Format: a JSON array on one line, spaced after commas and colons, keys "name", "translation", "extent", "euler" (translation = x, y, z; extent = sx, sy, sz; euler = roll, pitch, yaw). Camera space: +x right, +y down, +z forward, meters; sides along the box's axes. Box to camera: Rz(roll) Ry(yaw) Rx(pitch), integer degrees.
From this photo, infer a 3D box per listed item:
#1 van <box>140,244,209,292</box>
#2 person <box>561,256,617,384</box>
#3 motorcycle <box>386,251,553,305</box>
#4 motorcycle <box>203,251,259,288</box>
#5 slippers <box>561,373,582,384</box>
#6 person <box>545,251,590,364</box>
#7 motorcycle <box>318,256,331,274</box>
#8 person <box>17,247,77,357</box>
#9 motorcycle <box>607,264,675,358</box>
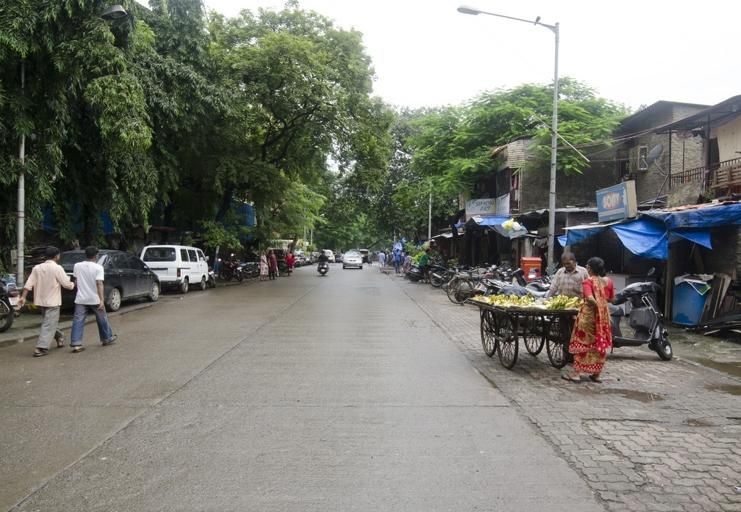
[{"name": "van", "translation": [-7.825, 0.314, 25.455], "extent": [1.410, 1.383, 2.832], "euler": [0, 3, 7]}, {"name": "person", "translation": [3.770, 1.095, 10.887], "extent": [0.697, 2.111, 0.582], "euler": [3, 11, 12]}, {"name": "motorcycle", "translation": [3.375, 0.885, 20.386], "extent": [3.258, 1.552, 1.554], "euler": [-2, 11, -17]}, {"name": "motorcycle", "translation": [-7.419, 0.621, 34.131], "extent": [2.416, 1.383, 1.265], "euler": [-3, 5, -23]}, {"name": "slippers", "translation": [3.467, 2.115, 10.939], "extent": [0.263, 0.084, 0.141], "euler": [4, -1, 27]}, {"name": "person", "translation": [3.815, 1.106, 11.072], "extent": [0.783, 2.096, 0.813], "euler": [6, -4, -39]}, {"name": "motorcycle", "translation": [-2.980, 0.604, 40.894], "extent": [0.632, 0.733, 1.310], "euler": [0, -3, -2]}, {"name": "person", "translation": [-6.457, 0.852, 12.904], "extent": [0.952, 2.285, 1.147], "euler": [0, 0, 3]}, {"name": "motorcycle", "translation": [5.412, 1.285, 12.683], "extent": [1.310, 1.428, 0.764], "euler": [0, 10, 0]}]
